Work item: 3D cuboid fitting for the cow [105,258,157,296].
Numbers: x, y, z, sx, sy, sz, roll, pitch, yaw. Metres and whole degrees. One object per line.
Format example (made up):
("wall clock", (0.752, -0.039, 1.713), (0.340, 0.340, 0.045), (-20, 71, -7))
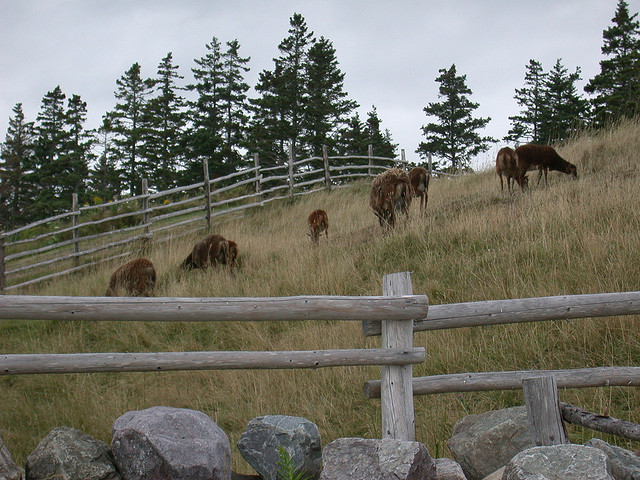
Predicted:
("cow", (-4.132, 0.862, 19.539), (0.809, 1.056, 0.923), (3, 5, 9))

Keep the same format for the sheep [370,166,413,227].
("sheep", (1.832, -1.096, 22.599), (0.963, 1.380, 1.396), (-5, 5, -10))

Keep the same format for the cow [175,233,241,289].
("cow", (-2.581, 0.411, 21.179), (1.165, 1.437, 1.182), (-5, 6, -31))

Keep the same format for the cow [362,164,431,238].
("cow", (1.906, -1.247, 23.193), (1.635, 2.711, 1.740), (-4, 8, -32))

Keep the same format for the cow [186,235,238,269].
("cow", (-2.834, 0.377, 21.792), (0.642, 1.215, 1.968), (3, -4, -42))

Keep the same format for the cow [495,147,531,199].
("cow", (4.990, -1.833, 23.326), (0.786, 1.171, 0.756), (-3, 4, 10))

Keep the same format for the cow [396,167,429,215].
("cow", (2.541, -1.465, 24.245), (0.427, 1.446, 1.804), (0, 5, -11))
